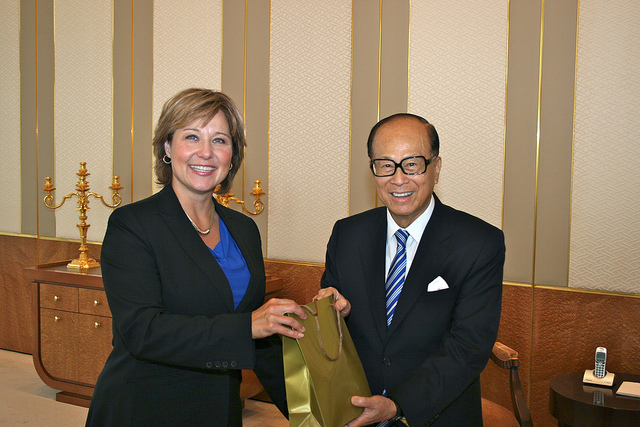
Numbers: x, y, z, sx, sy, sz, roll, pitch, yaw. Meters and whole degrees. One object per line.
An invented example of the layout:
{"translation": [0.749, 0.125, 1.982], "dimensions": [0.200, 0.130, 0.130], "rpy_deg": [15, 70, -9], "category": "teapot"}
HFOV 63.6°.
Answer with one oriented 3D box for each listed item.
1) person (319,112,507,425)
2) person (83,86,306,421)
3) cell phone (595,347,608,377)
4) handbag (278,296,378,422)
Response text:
{"translation": [0.542, 0.317, 3.011], "dimensions": [0.972, 1.768, 0.553], "rpy_deg": [-1, 1, -8], "category": "person"}
{"translation": [-0.736, 0.228, 2.835], "dimensions": [0.988, 1.902, 0.725], "rpy_deg": [-1, 1, -24], "category": "person"}
{"translation": [2.245, 1.169, 4.094], "dimensions": [0.155, 0.221, 0.061], "rpy_deg": [-1, 2, -36], "category": "cell phone"}
{"translation": [0.059, 0.791, 2.791], "dimensions": [0.552, 0.615, 0.221], "rpy_deg": [-20, -3, -39], "category": "handbag"}
